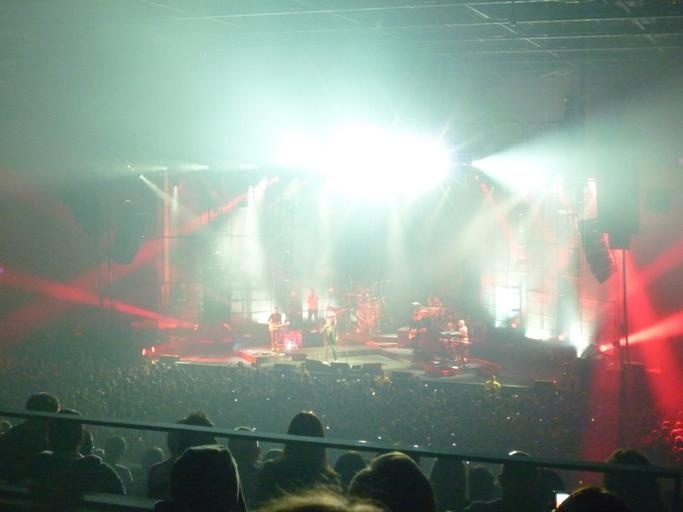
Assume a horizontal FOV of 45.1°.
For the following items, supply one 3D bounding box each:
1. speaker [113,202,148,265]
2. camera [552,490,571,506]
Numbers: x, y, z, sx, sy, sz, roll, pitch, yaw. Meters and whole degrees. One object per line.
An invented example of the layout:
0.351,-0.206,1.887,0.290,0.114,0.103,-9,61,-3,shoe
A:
-5.716,-0.639,22.025,0.733,1.691,0.843,-2,6,-43,speaker
2.983,3.267,11.213,0.193,0.182,0.180,2,-3,-4,camera
